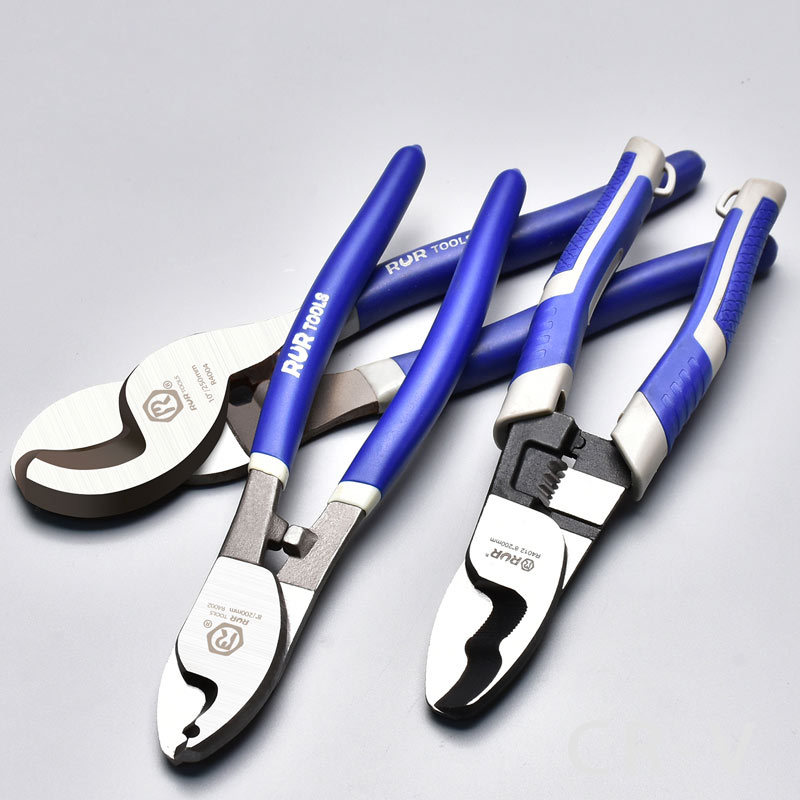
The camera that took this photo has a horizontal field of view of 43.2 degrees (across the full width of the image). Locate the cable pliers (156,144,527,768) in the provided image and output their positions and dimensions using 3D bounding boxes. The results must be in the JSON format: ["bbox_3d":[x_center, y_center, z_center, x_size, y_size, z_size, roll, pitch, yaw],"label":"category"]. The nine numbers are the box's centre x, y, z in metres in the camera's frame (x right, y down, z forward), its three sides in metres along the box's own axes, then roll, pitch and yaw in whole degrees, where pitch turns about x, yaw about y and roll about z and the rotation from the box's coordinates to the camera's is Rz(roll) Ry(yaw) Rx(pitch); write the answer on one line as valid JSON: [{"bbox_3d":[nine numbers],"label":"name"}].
[{"bbox_3d":[-0.037,-0.022,1.146,0.195,0.059,0.863,17,51,11],"label":"cable pliers"}]

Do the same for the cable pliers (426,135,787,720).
[{"bbox_3d":[0.219,-0.006,1.073,0.218,0.095,0.801,19,58,14],"label":"cable pliers"}]
